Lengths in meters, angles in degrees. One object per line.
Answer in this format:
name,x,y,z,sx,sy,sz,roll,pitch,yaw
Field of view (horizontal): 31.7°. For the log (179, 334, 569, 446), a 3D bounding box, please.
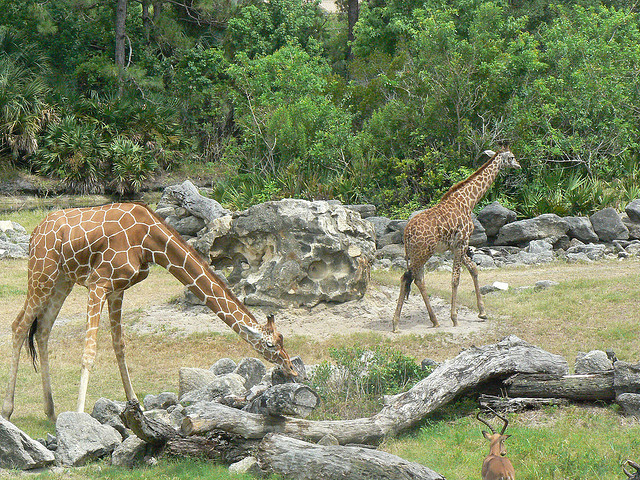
log,1.613,4.010,28.975,9.596,2.237,0.713,-2,5,-12
